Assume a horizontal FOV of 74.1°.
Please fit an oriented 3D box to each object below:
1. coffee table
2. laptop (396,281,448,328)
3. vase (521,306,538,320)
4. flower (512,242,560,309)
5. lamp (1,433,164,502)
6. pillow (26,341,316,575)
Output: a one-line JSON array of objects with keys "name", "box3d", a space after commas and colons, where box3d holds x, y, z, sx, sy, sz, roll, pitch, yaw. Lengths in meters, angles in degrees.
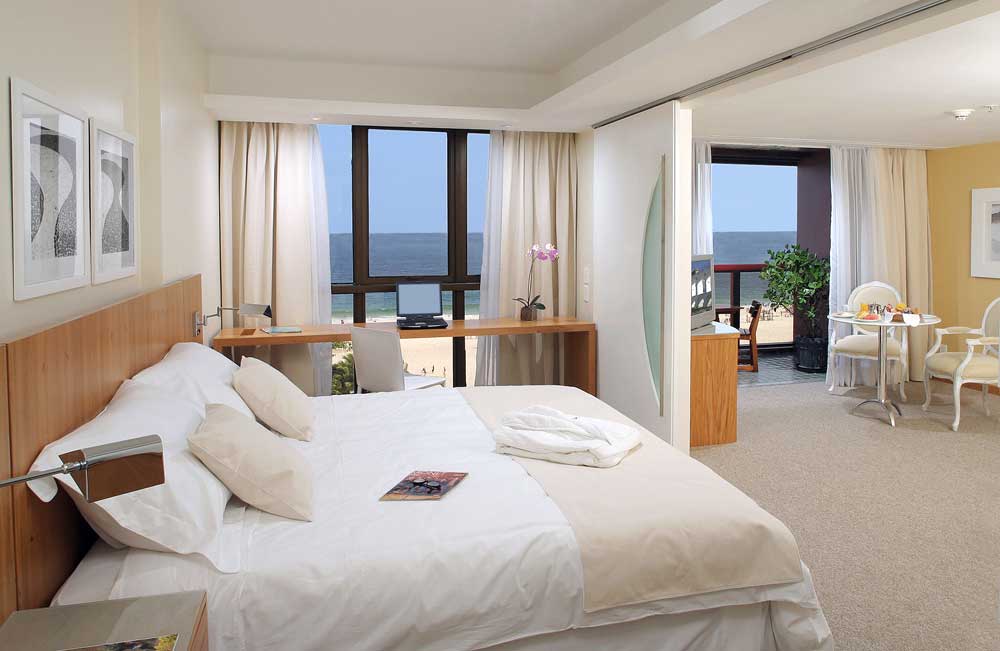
[{"name": "coffee table", "box3d": [3.772, 0.409, 6.342, 1.056, 1.017, 1.055, -2, 3, -4]}, {"name": "laptop", "box3d": [-0.707, -0.181, 5.852, 0.466, 0.449, 0.381, 0, -1, -18]}, {"name": "vase", "box3d": [0.256, -0.095, 5.883, 0.127, 0.126, 0.126, 1, -2, -12]}, {"name": "flower", "box3d": [0.325, -0.403, 6.099, 0.335, 0.710, 0.425, 1, -1, -36]}, {"name": "lamp", "box3d": [-1.222, 0.420, 1.975, 0.398, 0.118, 0.229, -8, 24, -34]}, {"name": "pillow", "box3d": [-1.496, 0.549, 2.963, 0.568, 0.524, 1.101, -3, 12, -12]}]
